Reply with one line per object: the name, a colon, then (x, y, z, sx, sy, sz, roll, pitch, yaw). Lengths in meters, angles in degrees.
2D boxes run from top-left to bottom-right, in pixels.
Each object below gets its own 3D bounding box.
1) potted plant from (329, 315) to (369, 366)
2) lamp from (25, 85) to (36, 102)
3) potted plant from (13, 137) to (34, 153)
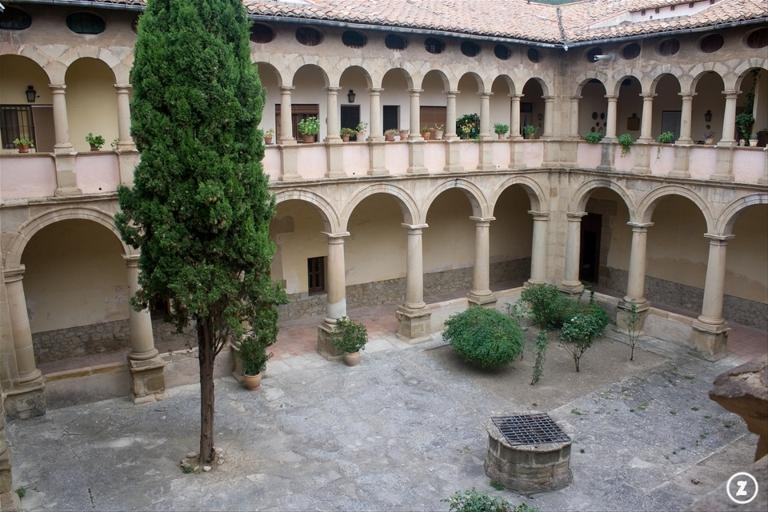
potted plant: (-1.134, 2.530, 16.038, 1.554, 1.659, 1.307, -1, 2, -11)
lamp: (-9.818, -4.506, 14.472, 0.280, 0.467, 0.090, -8, 11, -34)
potted plant: (-8.958, -2.744, 12.896, 0.334, 0.407, 0.986, -8, 10, -33)
